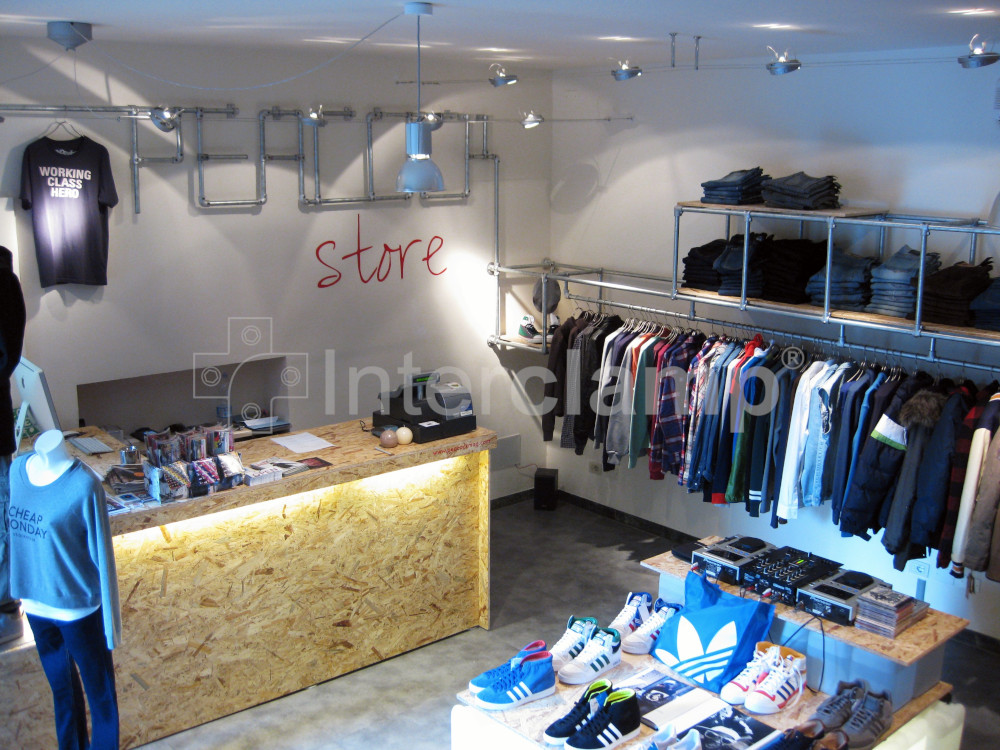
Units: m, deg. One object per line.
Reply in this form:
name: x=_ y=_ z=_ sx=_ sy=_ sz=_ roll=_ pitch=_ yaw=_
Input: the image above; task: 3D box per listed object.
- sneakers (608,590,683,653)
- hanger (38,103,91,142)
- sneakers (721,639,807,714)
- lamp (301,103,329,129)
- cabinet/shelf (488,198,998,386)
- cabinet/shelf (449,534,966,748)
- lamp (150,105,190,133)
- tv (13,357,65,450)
sneakers: x=0.738 y=1.300 z=3.831 sx=0.196 sy=0.165 sz=0.403 roll=6 pitch=7 yaw=38
hanger: x=-2.950 y=-1.706 z=4.912 sx=0.280 sy=0.200 sz=0.028 roll=-13 pitch=23 yaw=-42
sneakers: x=1.231 y=1.397 z=3.367 sx=0.374 sy=0.233 sz=0.209 roll=-9 pitch=17 yaw=-32
lamp: x=-1.457 y=-2.030 z=5.701 sx=0.122 sy=0.251 sz=0.066 roll=-5 pitch=-4 yaw=22
cabinet/shelf: x=1.794 y=-0.671 z=5.629 sx=0.846 sy=1.268 sz=3.668 roll=-13 pitch=19 yaw=-42
cabinet/shelf: x=1.253 y=1.360 z=3.529 sx=1.235 sy=0.595 sz=1.253 roll=6 pitch=12 yaw=41
lamp: x=-2.273 y=-1.764 z=5.037 sx=0.233 sy=0.173 sz=0.213 roll=-5 pitch=11 yaw=-23
tv: x=-2.774 y=0.167 z=4.366 sx=0.210 sy=0.351 sz=0.479 roll=-8 pitch=17 yaw=-33
